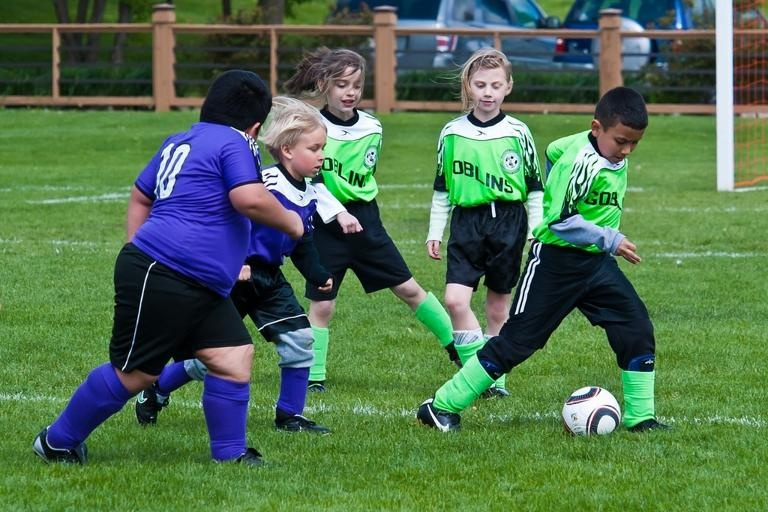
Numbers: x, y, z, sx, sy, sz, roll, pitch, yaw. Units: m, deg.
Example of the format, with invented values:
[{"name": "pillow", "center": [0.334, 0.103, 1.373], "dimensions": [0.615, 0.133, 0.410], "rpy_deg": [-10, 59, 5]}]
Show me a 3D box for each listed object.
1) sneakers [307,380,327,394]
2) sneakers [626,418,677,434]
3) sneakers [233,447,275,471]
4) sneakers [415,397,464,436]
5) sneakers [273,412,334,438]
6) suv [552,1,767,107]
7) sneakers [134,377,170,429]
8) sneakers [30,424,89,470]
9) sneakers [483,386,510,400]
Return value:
[{"name": "sneakers", "center": [-0.569, 1.088, 10.680], "dimensions": [0.162, 0.118, 0.288], "rpy_deg": [0, -8, -2]}, {"name": "sneakers", "center": [2.037, 1.277, 9.725], "dimensions": [0.342, 0.138, 0.119], "rpy_deg": [3, -2, 1]}, {"name": "sneakers", "center": [-0.955, 1.464, 9.251], "dimensions": [0.239, 0.095, 0.112], "rpy_deg": [-1, -2, 13]}, {"name": "sneakers", "center": [0.428, 1.236, 9.923], "dimensions": [0.293, 0.121, 0.216], "rpy_deg": [18, 5, 19]}, {"name": "sneakers", "center": [-0.613, 1.303, 9.860], "dimensions": [0.465, 0.177, 0.157], "rpy_deg": [1, -2, 4]}, {"name": "suv", "center": [4.047, -2.899, 18.767], "dimensions": [3.402, 1.386, 3.357], "rpy_deg": [2, 0, 14]}, {"name": "sneakers", "center": [-1.819, 1.168, 10.045], "dimensions": [0.193, 0.435, 0.158], "rpy_deg": [-3, -15, 26]}, {"name": "sneakers", "center": [-2.432, 1.346, 9.312], "dimensions": [0.553, 0.226, 0.201], "rpy_deg": [21, 33, 25]}, {"name": "sneakers", "center": [0.927, 1.129, 10.566], "dimensions": [0.243, 0.098, 0.085], "rpy_deg": [6, -20, -9]}]
